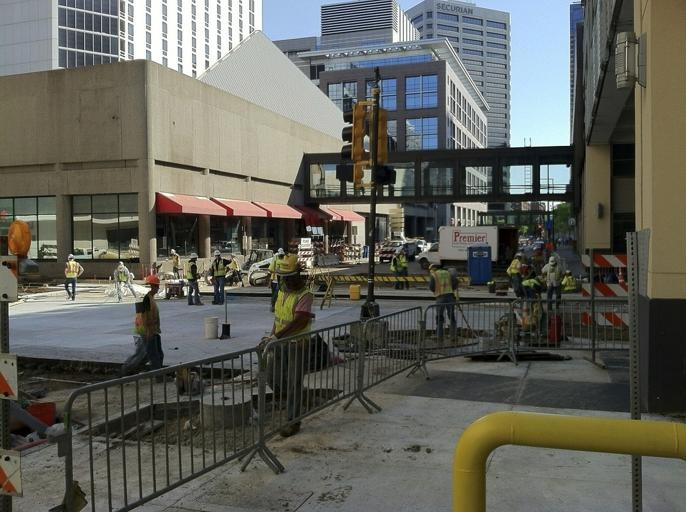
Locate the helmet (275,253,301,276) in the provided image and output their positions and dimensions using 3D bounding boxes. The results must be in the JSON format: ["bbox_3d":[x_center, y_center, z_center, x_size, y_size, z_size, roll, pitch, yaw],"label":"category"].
[{"bbox_3d":[-0.748,0.136,11.279,0.233,0.226,0.379,4,3,16],"label":"helmet"}]

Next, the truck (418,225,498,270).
[{"bbox_3d":[5.962,-0.692,40.261,4.294,2.497,2.274,0,16,12],"label":"truck"}]

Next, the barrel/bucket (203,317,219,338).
[{"bbox_3d":[-3.147,1.722,18.766,0.396,0.501,0.426,1,-1,0],"label":"barrel/bucket"}]

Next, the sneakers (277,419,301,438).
[{"bbox_3d":[-0.768,2.405,10.924,0.085,0.264,0.254,14,-14,12],"label":"sneakers"}]

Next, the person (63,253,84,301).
[{"bbox_3d":[-10.025,0.764,29.016,0.535,1.656,2.047,-3,1,-20],"label":"person"}]

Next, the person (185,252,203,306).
[{"bbox_3d":[-5.036,0.893,26.346,0.427,1.453,2.236,-3,2,-11],"label":"person"}]

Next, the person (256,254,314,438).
[{"bbox_3d":[-0.765,1.276,11.017,0.686,2.144,1.391,-2,1,3],"label":"person"}]

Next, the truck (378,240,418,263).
[{"bbox_3d":[4.043,-0.327,55.824,1.352,1.168,2.611,-2,-3,27],"label":"truck"}]

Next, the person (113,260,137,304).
[{"bbox_3d":[-8.192,0.928,29.308,0.743,1.641,0.612,-6,25,-16],"label":"person"}]

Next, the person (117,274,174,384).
[{"bbox_3d":[-3.731,1.328,14.509,0.703,1.736,1.368,-3,1,-16],"label":"person"}]

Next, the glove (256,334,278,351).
[{"bbox_3d":[-1.028,1.179,10.634,0.135,0.221,0.556,-8,-4,3],"label":"glove"}]

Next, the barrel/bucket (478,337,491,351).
[{"bbox_3d":[3.005,1.870,16.471,0.239,0.278,0.478,1,10,12],"label":"barrel/bucket"}]

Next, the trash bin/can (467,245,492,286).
[{"bbox_3d":[6.165,0.448,35.051,1.017,1.244,0.733,-3,1,5],"label":"trash bin/can"}]

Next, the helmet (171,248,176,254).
[{"bbox_3d":[-8.005,-0.253,36.700,0.262,0.274,0.213,-12,-6,32],"label":"helmet"}]

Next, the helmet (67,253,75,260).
[{"bbox_3d":[-11.812,-0.006,33.812,0.220,0.114,0.337,7,9,-1],"label":"helmet"}]

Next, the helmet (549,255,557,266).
[{"bbox_3d":[6.088,0.098,22.591,0.169,0.211,0.245,-1,-6,21],"label":"helmet"}]
